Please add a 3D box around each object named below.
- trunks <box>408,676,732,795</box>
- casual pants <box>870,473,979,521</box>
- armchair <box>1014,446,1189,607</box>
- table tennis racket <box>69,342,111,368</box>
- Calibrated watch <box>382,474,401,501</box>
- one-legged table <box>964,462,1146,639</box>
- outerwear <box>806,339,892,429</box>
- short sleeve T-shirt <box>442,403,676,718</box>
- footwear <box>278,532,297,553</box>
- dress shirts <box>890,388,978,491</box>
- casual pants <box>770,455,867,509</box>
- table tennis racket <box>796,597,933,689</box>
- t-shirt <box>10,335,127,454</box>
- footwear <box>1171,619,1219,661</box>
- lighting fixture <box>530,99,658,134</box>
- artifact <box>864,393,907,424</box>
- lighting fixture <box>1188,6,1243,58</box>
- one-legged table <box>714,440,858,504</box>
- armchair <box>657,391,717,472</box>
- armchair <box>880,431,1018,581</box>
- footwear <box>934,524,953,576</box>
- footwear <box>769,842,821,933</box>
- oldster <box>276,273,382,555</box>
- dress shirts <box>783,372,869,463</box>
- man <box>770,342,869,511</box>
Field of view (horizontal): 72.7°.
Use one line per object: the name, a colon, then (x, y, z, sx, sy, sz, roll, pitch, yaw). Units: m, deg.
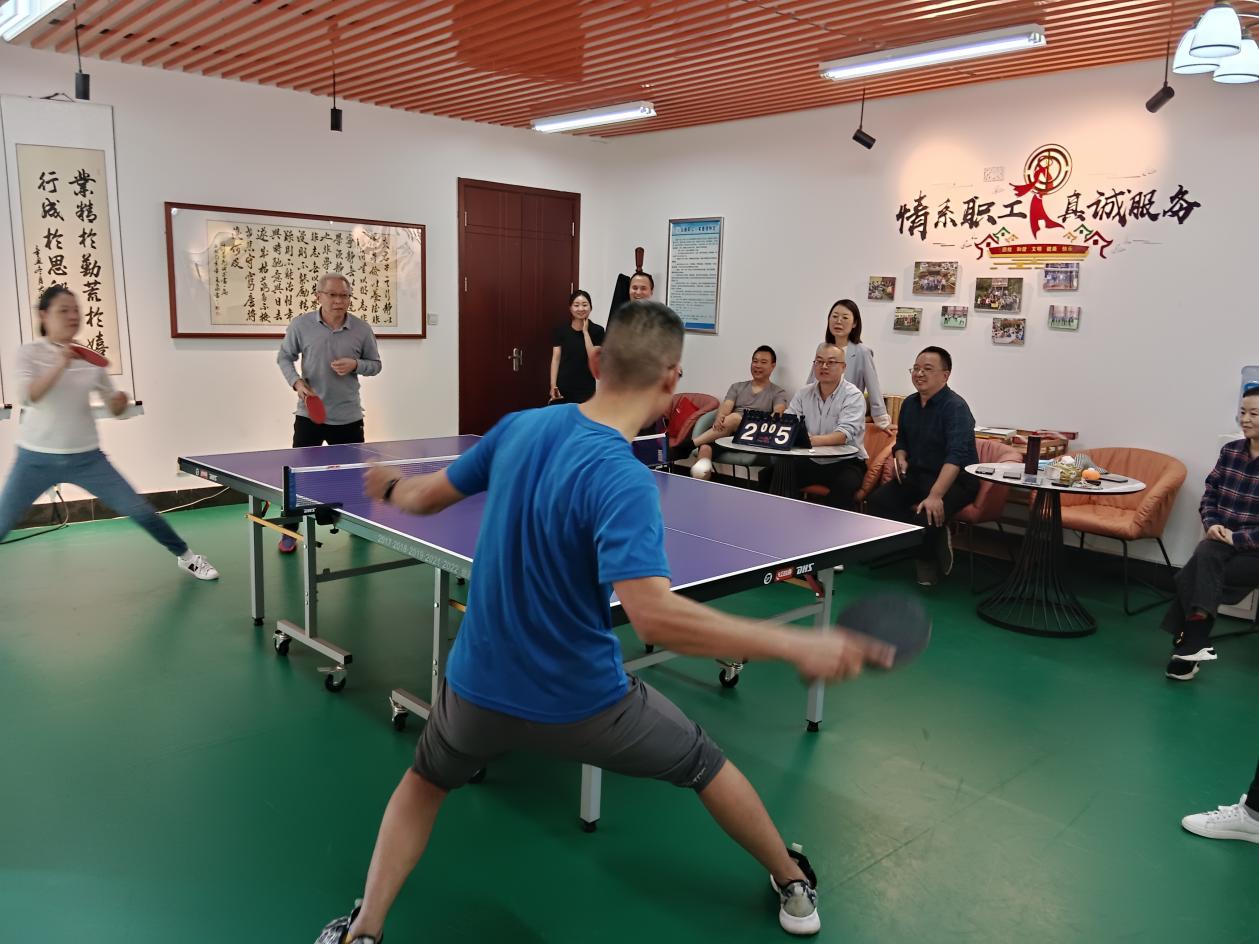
trunks: (-0.167, 0.736, 2.370, 0.475, 0.170, 0.479, 4, 3, -29)
casual pants: (1.894, 0.156, 5.599, 0.426, 0.129, 0.386, -15, 1, 33)
armchair: (3.151, 0.334, 5.663, 0.788, 0.944, 0.799, -7, 11, -24)
table tennis racket: (-2.779, -0.591, 4.400, 0.144, 0.122, 0.227, -5, 15, -34)
Calibrated watch: (-0.730, 0.050, 2.647, 0.018, 0.065, 0.063, 19, 46, 12)
one-legged table: (2.382, 0.461, 5.247, 0.938, 0.965, 0.954, 3, 14, 3)
outerwear: (1.605, -0.622, 6.228, 0.189, 0.560, 0.599, 9, 9, -41)
short sleeve T-shirt: (-0.251, 0.218, 2.343, 0.438, 0.761, 0.831, -4, 19, -45)
footwear: (-2.304, 0.485, 5.803, 0.140, 0.119, 0.281, -1, 6, -18)
dress shirts: (2.003, -0.258, 5.690, 0.332, 0.577, 0.579, -8, 12, -32)
casual pants: (1.295, 0.044, 5.998, 0.446, 0.113, 0.462, -2, 12, -13)
table tennis racket: (0.611, 0.378, 2.083, 0.209, 0.133, 0.322, 8, 13, 18)
t-shirt: (-2.925, -0.361, 4.492, 0.379, 0.605, 0.422, 29, 22, 27)
footwear: (2.857, 0.840, 4.361, 0.140, 0.235, 0.120, 11, 14, 32)
lighting fixture: (-0.292, -2.872, 6.976, 0.634, 0.127, 1.562, -2, 14, -26)
artifact: (2.045, -0.524, 6.830, 0.223, 0.333, 0.328, -1, 0, -4)
lighting fixture: (2.637, -1.976, 3.842, 0.213, 0.191, 0.190, -6, 16, -39)
one-legged table: (1.285, 0.018, 5.913, 0.584, 0.414, 0.614, 2, 7, 2)
armchair: (0.526, -0.419, 7.810, 0.601, 0.713, 0.613, -9, 15, -33)
armchair: (2.295, 0.254, 5.933, 0.749, 0.877, 0.770, 0, 9, 38)
footwear: (2.006, 0.502, 5.496, 0.137, 0.376, 0.115, -1, 3, -37)
footwear: (0.536, 1.339, 2.814, 0.108, 0.118, 0.288, -2, 19, -4)
oldster: (-2.041, -0.440, 5.823, 0.628, 1.719, 0.546, -2, 24, -23)
dress shirts: (1.390, -0.416, 5.959, 0.488, 0.645, 0.682, 0, 8, -39)
man: (1.274, -0.221, 5.982, 0.559, 1.305, 0.707, 11, 15, 29)
